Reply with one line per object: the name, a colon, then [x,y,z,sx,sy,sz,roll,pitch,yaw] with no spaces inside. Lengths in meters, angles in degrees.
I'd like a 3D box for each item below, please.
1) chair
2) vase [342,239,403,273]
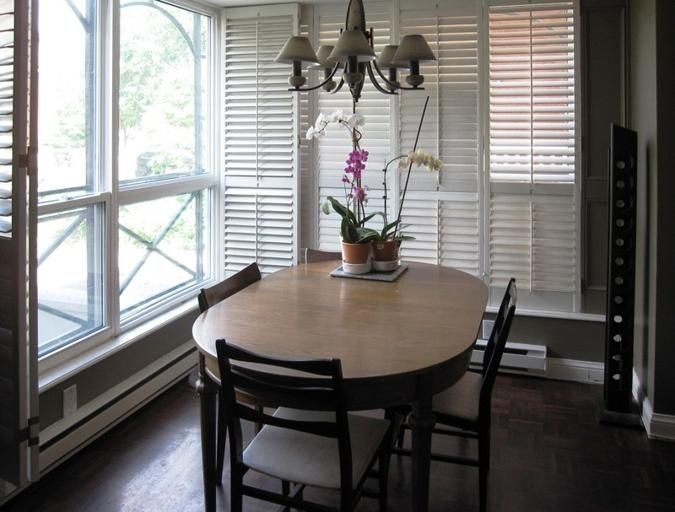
chair: [0.052,0.208,2.631,1.024,0.768,1.553,3,11,19]
vase: [0.191,-0.004,3.244,0.263,0.124,0.191,0,4,-4]
